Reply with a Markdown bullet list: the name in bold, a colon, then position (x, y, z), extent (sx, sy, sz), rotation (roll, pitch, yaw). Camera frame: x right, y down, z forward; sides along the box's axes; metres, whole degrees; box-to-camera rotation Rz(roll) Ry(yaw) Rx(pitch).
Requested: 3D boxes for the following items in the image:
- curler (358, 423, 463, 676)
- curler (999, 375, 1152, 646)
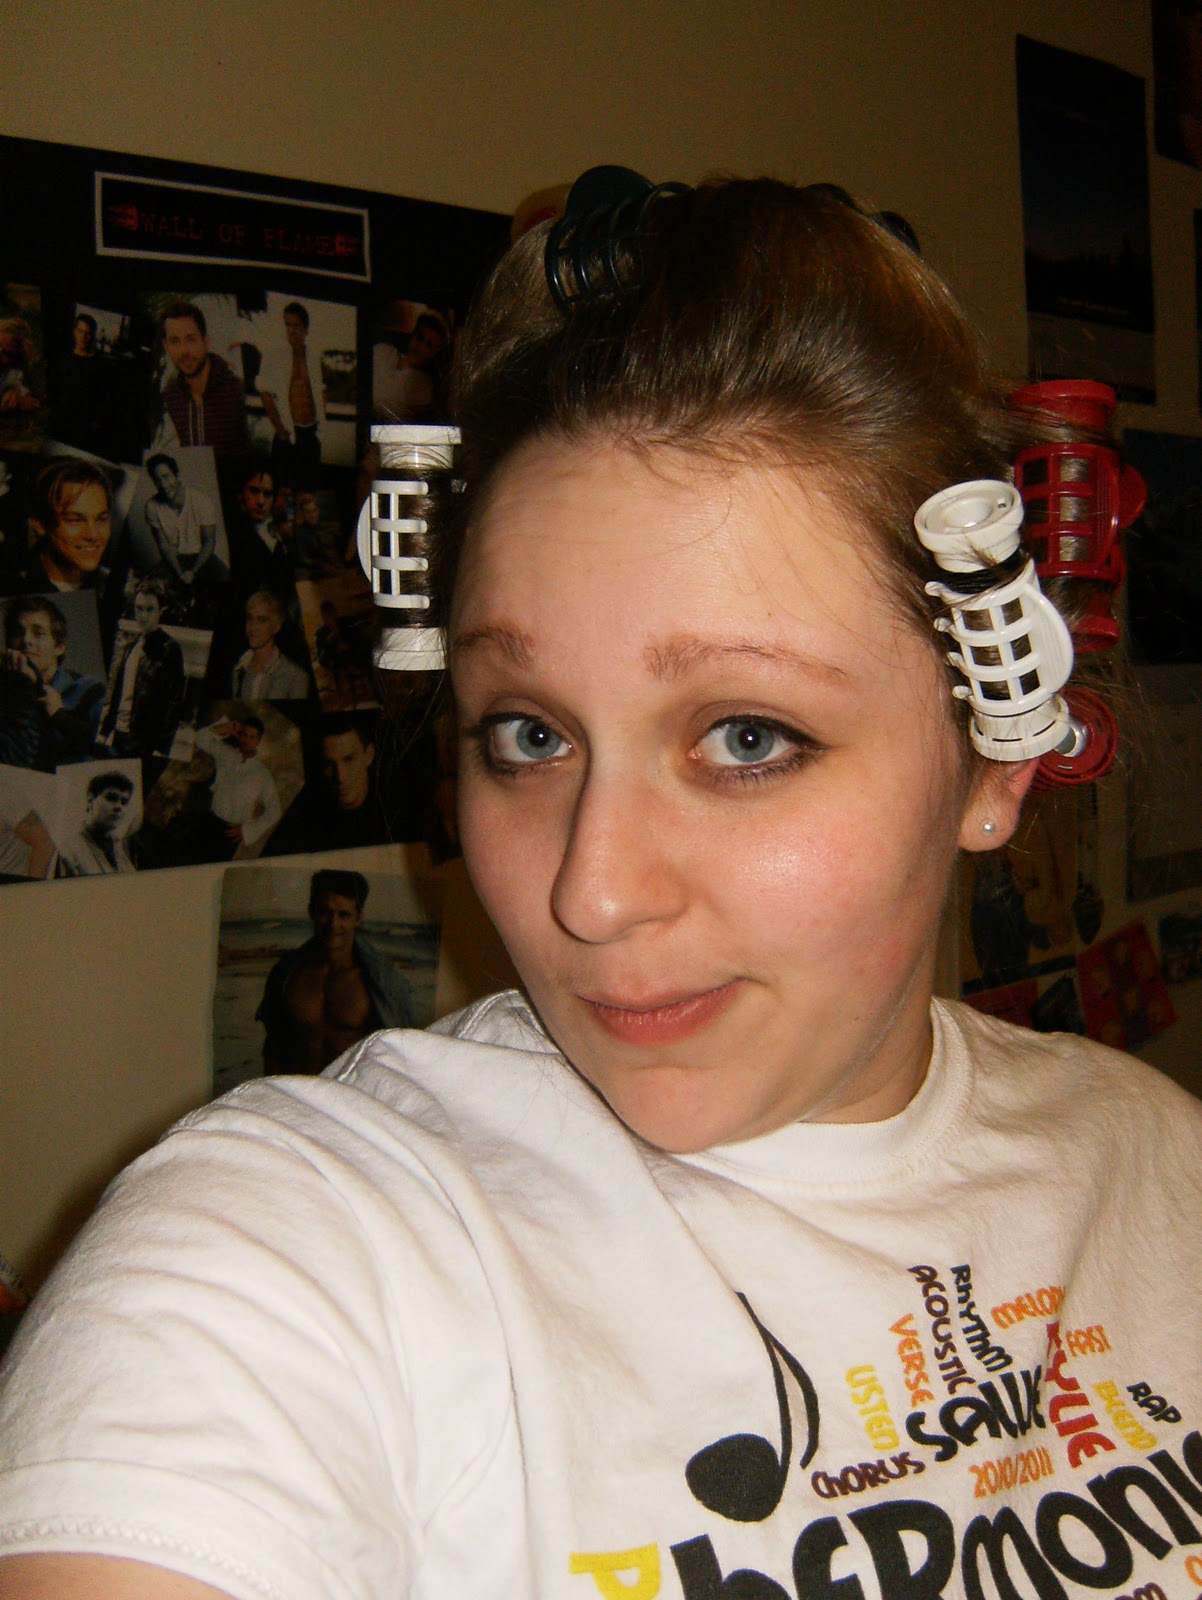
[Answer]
- **curler**: position (-0.095, -0.146, 0.844), extent (0.077, 0.119, 0.061), rotation (6, 9, 14)
- **curler**: position (0.273, -0.158, 0.808), extent (0.080, 0.119, 0.071), rotation (0, 11, 15)
